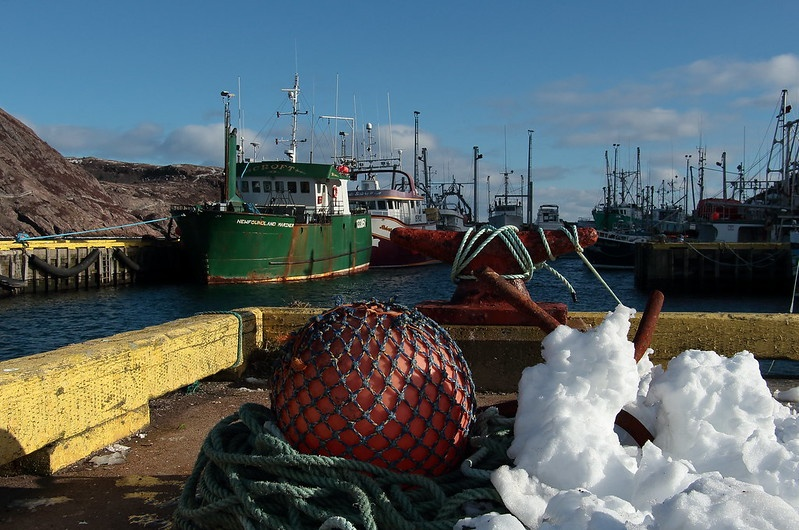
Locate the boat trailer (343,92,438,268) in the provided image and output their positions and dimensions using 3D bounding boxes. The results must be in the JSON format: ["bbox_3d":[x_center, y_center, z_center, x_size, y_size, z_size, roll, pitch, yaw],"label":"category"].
[{"bbox_3d":[-0.292,-1.768,30.300,2.380,4.321,7.637,-2,-2,19],"label":"boat trailer"}]
